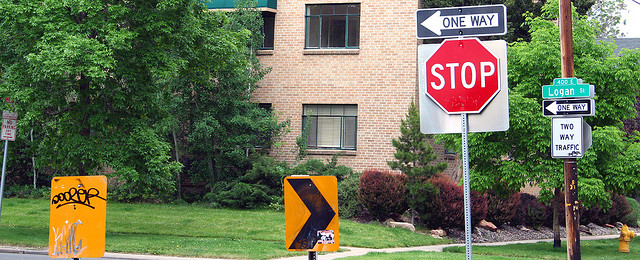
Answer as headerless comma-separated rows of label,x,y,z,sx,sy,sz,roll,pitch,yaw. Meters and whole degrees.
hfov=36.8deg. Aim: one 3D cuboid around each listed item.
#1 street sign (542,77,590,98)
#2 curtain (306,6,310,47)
street sign,16.290,-2.781,63.368,3.054,1.370,0.425,1,-6,1
curtain,-0.924,-8.433,77.994,0.260,3.317,0.334,3,-6,-1
